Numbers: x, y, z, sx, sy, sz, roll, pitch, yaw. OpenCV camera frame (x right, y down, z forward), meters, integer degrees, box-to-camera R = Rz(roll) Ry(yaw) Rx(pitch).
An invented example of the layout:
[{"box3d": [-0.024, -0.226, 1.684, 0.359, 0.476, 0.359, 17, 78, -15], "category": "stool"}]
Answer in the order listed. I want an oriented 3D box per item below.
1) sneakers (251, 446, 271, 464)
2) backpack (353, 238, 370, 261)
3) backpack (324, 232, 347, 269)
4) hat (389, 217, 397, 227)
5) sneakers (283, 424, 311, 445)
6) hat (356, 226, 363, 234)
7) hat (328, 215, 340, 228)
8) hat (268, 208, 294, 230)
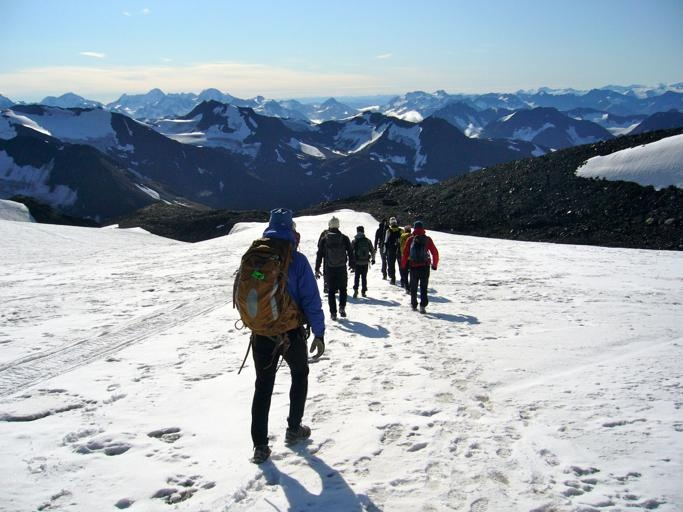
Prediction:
[{"box3d": [-1.178, 2.956, 7.897, 0.150, 0.135, 0.372, 5, 8, 22], "category": "sneakers"}, {"box3d": [0.575, -0.168, 15.008, 0.512, 0.729, 0.217, 0, 14, -5], "category": "backpack"}, {"box3d": [-0.155, -0.176, 13.188, 0.612, 0.936, 0.310, 0, 13, -2], "category": "backpack"}, {"box3d": [1.619, -1.116, 16.786, 0.274, 0.275, 0.322, -2, -22, -5], "category": "hat"}, {"box3d": [-0.687, 2.765, 8.144, 0.499, 0.181, 0.184, -8, 10, -32], "category": "sneakers"}, {"box3d": [0.521, -0.748, 14.815, 0.269, 0.276, 0.173, 1, -13, -3], "category": "hat"}, {"box3d": [-0.177, -0.830, 13.181, 0.331, 0.301, 0.358, 2, 7, 0], "category": "hat"}, {"box3d": [-0.920, -0.586, 8.117, 0.416, 0.291, 0.306, 1, 1, -14], "category": "hat"}]
